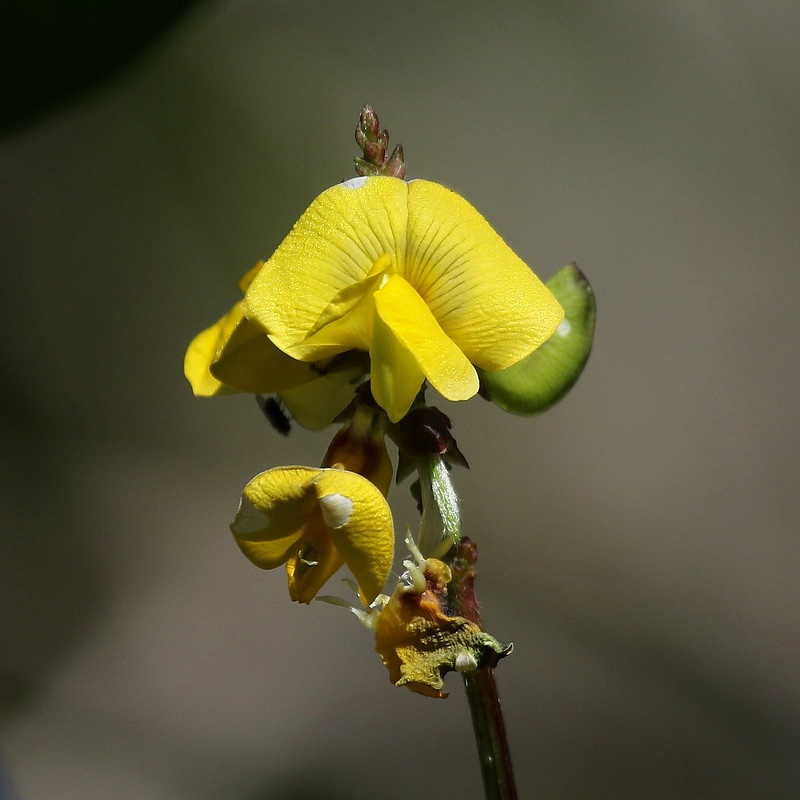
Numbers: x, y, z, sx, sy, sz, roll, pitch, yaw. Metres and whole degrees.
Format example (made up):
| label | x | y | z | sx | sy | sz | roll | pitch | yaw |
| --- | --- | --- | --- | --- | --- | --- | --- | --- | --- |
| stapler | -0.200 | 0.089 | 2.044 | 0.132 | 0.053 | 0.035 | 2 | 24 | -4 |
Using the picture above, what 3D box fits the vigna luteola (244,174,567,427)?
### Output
| label | x | y | z | sx | sy | sz | roll | pitch | yaw |
| --- | --- | --- | --- | --- | --- | --- | --- | --- | --- |
| vigna luteola | 0.021 | -0.066 | 0.652 | 0.174 | 0.098 | 0.250 | -2 | -2 | -31 |
